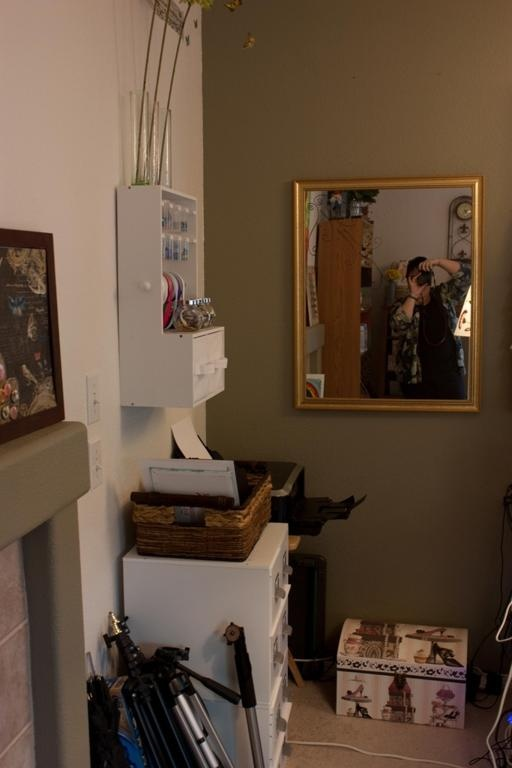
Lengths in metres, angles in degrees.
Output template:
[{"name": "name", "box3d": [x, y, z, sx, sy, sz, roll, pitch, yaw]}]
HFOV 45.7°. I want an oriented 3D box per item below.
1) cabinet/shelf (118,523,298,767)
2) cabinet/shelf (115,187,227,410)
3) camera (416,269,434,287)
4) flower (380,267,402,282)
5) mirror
[{"name": "cabinet/shelf", "box3d": [-0.097, 0.688, 2.036, 0.559, 0.973, 0.507, 0, 6, 8]}, {"name": "cabinet/shelf", "box3d": [-0.231, -0.213, 1.728, 0.273, 0.648, 0.390, -1, 9, -1]}, {"name": "camera", "box3d": [0.652, -0.412, 2.349, 0.077, 0.085, 0.045, 3, 18, 11]}, {"name": "flower", "box3d": [0.530, -0.427, 2.365, 0.051, 0.049, 0.059, 1, 5, 42]}, {"name": "mirror", "box3d": [0.542, -0.384, 2.366, 0.811, 1.162, 0.049, -1, 6, 8]}]
